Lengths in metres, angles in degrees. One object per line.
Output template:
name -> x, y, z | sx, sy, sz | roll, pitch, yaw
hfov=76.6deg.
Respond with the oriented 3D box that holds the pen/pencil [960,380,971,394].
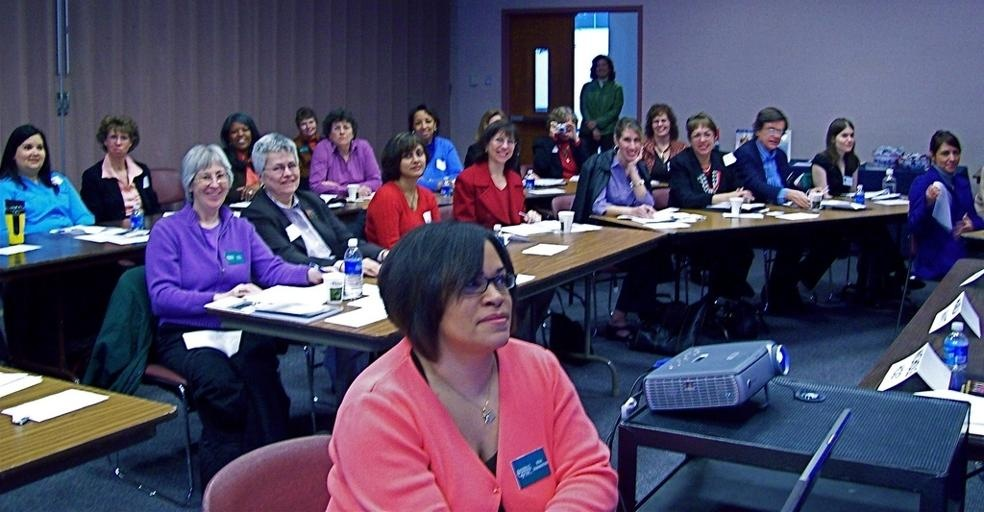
pen/pencil -> 1.995, 0.553, 2.619 | 0.029, 0.003, 0.068 | 9, 24, 25
